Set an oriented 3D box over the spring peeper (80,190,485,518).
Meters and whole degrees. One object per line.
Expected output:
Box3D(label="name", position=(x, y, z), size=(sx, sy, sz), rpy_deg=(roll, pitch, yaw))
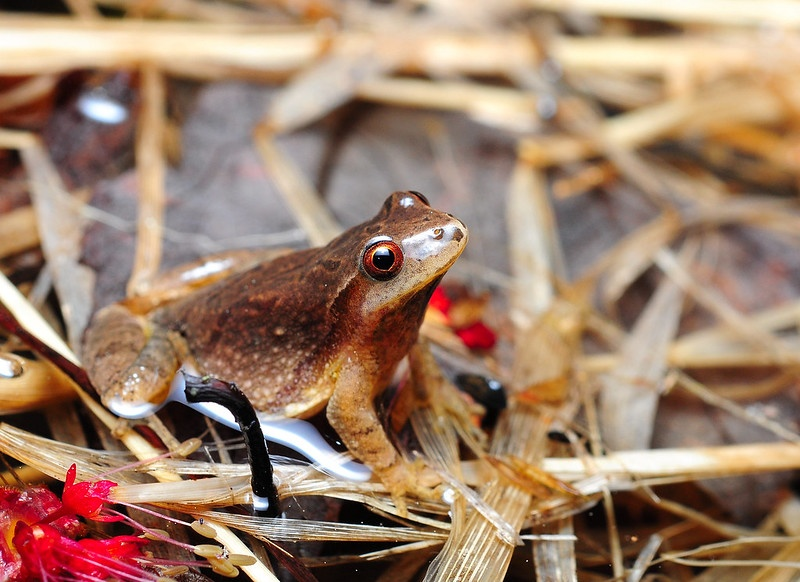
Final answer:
Box3D(label="spring peeper", position=(-0.234, 0.065, 1.761), size=(0.730, 0.517, 0.362), rpy_deg=(8, 25, 9))
